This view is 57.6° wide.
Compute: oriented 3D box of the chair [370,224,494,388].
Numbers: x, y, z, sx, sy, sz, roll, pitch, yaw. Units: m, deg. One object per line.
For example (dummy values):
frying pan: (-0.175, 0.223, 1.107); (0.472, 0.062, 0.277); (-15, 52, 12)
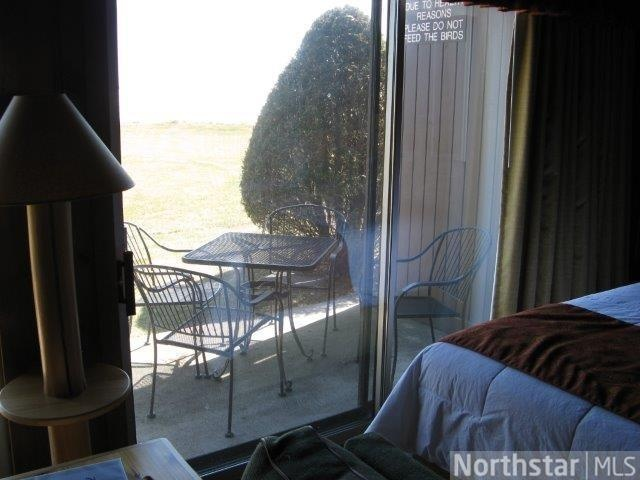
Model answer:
chair: (0.659, 0.371, 3.759); (0.641, 1.012, 0.718); (6, 7, -1)

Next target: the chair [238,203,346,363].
chair: (-0.214, 0.212, 2.888); (0.454, 0.642, 0.470); (12, -4, 15)
